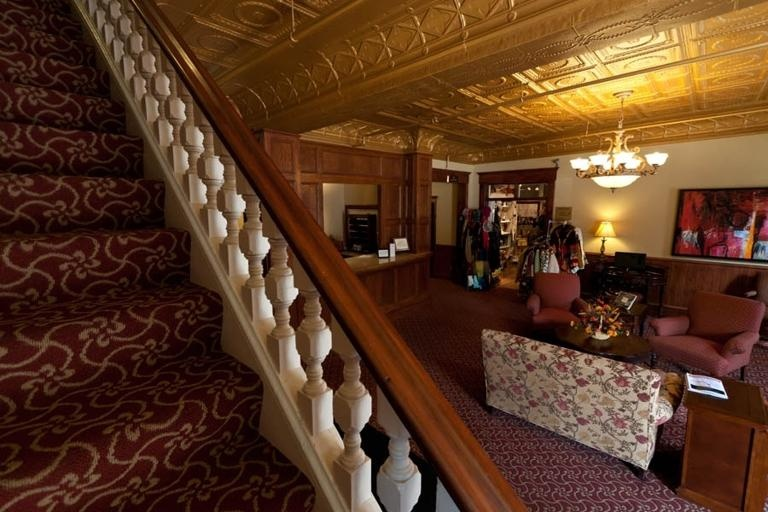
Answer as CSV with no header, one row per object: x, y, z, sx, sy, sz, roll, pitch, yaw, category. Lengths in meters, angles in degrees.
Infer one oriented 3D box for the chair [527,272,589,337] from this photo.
2.120,0.654,6.011,0.745,0.713,0.720,0,17,10,chair

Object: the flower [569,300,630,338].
2.243,0.632,5.044,0.565,0.353,0.539,5,16,21,flower

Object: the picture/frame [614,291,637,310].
2.724,0.493,5.410,0.053,0.208,0.223,40,-3,-21,picture/frame

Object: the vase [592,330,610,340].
2.191,0.796,4.884,0.112,0.071,0.106,0,3,-6,vase

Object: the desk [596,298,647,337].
2.654,0.695,5.424,0.576,0.247,0.387,-12,20,-38,desk

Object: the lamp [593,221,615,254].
3.462,-0.276,7.636,0.260,0.537,0.508,11,14,26,lamp
